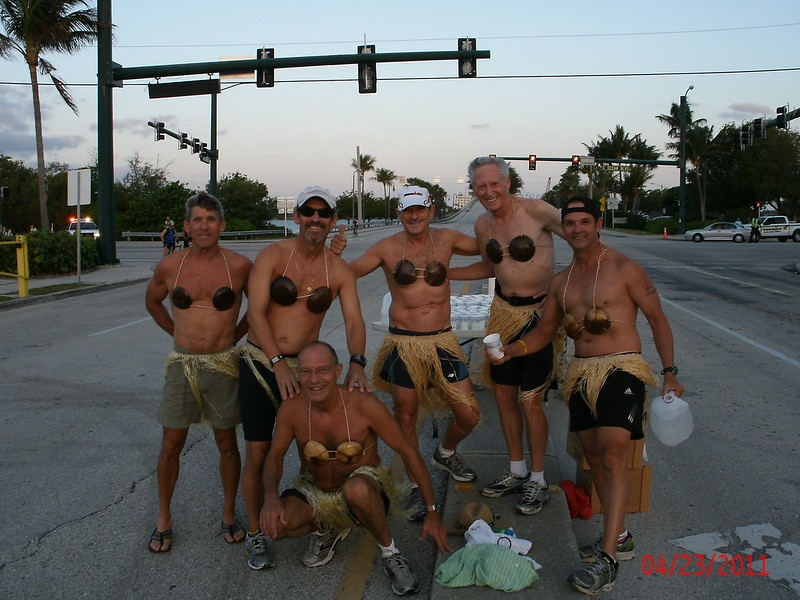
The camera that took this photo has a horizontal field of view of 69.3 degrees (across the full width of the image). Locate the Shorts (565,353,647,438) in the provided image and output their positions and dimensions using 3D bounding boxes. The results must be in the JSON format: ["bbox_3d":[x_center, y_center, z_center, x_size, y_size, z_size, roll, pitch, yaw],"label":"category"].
[{"bbox_3d":[1.279,0.595,3.600,0.414,0.552,0.554,13,-18,-33],"label":"Shorts"}]

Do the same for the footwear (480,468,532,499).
[{"bbox_3d":[0.771,1.310,4.155,0.390,0.186,0.132,-5,7,-15],"label":"footwear"}]

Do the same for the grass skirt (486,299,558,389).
[{"bbox_3d":[0.935,0.314,4.352,0.504,0.767,0.437,6,14,16],"label":"grass skirt"}]

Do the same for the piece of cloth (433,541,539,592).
[{"bbox_3d":[0.475,1.470,3.149,0.347,0.105,0.281,6,15,21],"label":"piece of cloth"}]

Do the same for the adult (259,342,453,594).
[{"bbox_3d":[-0.292,0.936,3.349,0.980,1.378,0.500,0,9,7],"label":"adult"}]

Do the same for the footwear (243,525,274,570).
[{"bbox_3d":[-0.855,1.502,3.474,0.130,0.157,0.337,3,3,-29],"label":"footwear"}]

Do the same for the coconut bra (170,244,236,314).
[{"bbox_3d":[-1.285,-0.126,3.796,0.421,0.448,0.139,0,-9,-12],"label":"coconut bra"}]

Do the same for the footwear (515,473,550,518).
[{"bbox_3d":[0.902,1.325,3.889,0.140,0.184,0.371,-3,4,40],"label":"footwear"}]

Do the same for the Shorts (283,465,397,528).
[{"bbox_3d":[-0.362,1.142,3.428,0.403,0.243,0.485,3,11,43],"label":"Shorts"}]

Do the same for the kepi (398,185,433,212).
[{"bbox_3d":[0.123,-0.723,4.095,0.291,0.187,0.273,-4,10,-18],"label":"kepi"}]

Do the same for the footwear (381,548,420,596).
[{"bbox_3d":[0.013,1.540,3.240,0.139,0.207,0.205,-6,10,-29],"label":"footwear"}]

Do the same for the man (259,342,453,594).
[{"bbox_3d":[-0.294,0.936,3.349,0.976,1.378,0.500,0,9,7],"label":"man"}]

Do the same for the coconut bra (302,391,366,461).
[{"bbox_3d":[-0.378,0.734,3.362,0.355,0.527,0.090,-6,5,0],"label":"coconut bra"}]

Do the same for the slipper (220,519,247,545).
[{"bbox_3d":[-1.075,1.498,3.737,0.148,0.116,0.165,-5,10,-20],"label":"slipper"}]

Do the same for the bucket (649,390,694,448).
[{"bbox_3d":[1.621,0.698,3.459,0.247,0.268,0.241,-17,27,9],"label":"bucket"}]

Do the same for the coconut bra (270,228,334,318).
[{"bbox_3d":[-0.635,-0.158,3.776,0.474,0.600,0.156,11,-10,-19],"label":"coconut bra"}]

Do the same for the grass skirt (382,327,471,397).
[{"bbox_3d":[0.182,0.343,4.367,0.673,0.492,0.431,1,-6,5],"label":"grass skirt"}]

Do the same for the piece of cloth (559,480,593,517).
[{"bbox_3d":[1.216,1.385,3.971,0.182,0.088,0.190,0,1,-5],"label":"piece of cloth"}]

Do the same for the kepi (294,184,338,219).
[{"bbox_3d":[-0.532,-0.640,3.689,0.256,0.158,0.219,-3,10,-10],"label":"kepi"}]

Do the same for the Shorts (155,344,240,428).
[{"bbox_3d":[-1.284,0.556,3.817,0.561,0.564,0.344,3,7,-5],"label":"Shorts"}]

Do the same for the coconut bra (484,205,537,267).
[{"bbox_3d":[0.860,-0.483,4.384,0.383,0.223,0.409,-4,7,22],"label":"coconut bra"}]

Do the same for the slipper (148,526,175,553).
[{"bbox_3d":[-1.495,1.512,3.618,0.144,0.110,0.174,-5,10,-24],"label":"slipper"}]

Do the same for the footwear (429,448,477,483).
[{"bbox_3d":[0.406,1.249,4.378,0.394,0.164,0.149,32,24,21],"label":"footwear"}]
